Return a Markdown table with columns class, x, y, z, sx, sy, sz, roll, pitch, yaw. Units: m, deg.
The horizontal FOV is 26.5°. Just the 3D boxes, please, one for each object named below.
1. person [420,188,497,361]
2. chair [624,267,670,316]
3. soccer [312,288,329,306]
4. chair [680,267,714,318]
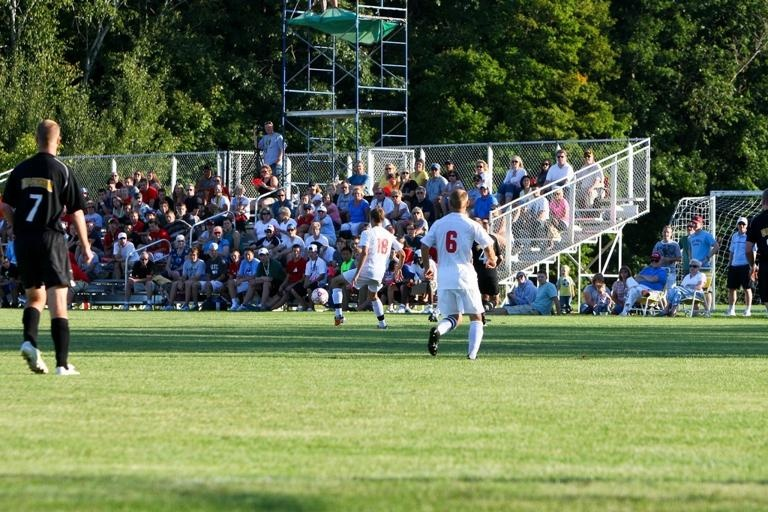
| class | x | y | z | sx | sy | sz | roll | pitch | yaw |
| --- | --- | --- | --- | --- | --- | --- | --- | --- | --- |
| person | 1.354 | 0.334 | 30.207 | 1.323 | 3.099 | 0.898 | 1 | 1 | 2 |
| chair | 6.589 | 0.887 | 40.906 | 1.221 | 1.428 | 0.804 | 1 | -1 | 9 |
| soccer | -1.516 | 0.966 | 39.954 | 0.414 | 0.307 | 0.411 | 11 | -24 | -30 |
| chair | 7.868 | 0.792 | 41.050 | 0.739 | 1.320 | 1.048 | 1 | 1 | 11 |
